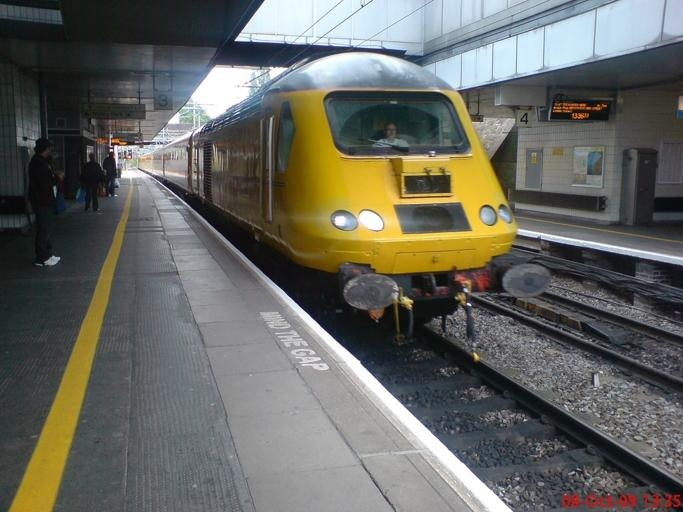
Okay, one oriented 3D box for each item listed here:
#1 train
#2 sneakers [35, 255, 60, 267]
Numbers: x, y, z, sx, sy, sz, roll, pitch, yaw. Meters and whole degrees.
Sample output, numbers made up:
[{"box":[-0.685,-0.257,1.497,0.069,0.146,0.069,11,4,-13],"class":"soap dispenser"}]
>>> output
[{"box":[-0.479,-1.140,7.622,2.161,3.979,6.777,-6,13,-29],"class":"train"},{"box":[-4.978,0.106,7.800,0.442,0.173,0.151,-11,22,-29],"class":"sneakers"}]
